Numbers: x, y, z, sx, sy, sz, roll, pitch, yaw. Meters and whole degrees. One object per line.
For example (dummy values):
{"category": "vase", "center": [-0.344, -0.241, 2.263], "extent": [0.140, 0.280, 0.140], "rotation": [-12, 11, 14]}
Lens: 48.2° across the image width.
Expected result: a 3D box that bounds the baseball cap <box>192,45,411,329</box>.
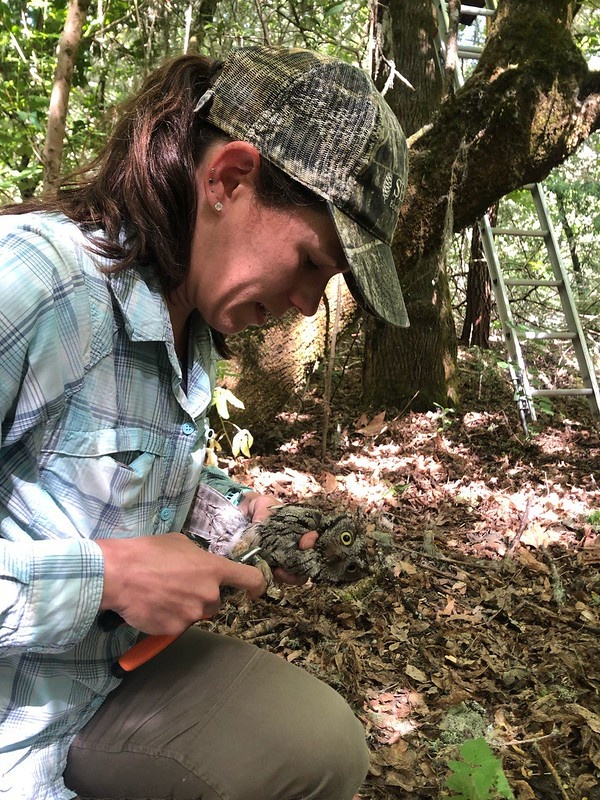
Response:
{"category": "baseball cap", "center": [0.020, -0.446, 1.387], "extent": [0.497, 0.543, 0.252], "rotation": [7, 11, 1]}
